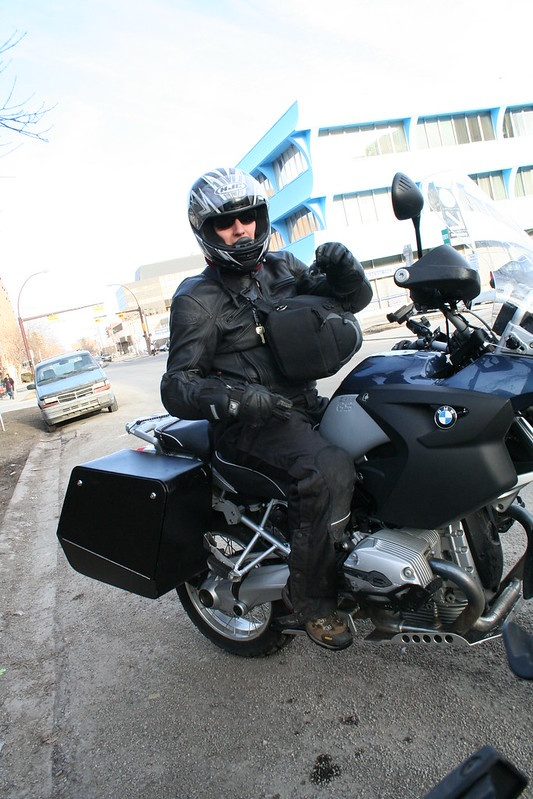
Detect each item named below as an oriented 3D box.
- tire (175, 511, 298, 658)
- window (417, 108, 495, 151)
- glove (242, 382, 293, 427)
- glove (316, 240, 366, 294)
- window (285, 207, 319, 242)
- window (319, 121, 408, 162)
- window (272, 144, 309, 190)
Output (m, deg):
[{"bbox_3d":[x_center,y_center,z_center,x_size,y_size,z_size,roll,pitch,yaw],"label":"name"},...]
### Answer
[{"bbox_3d":[-0.206,0.963,2.613,0.713,0.729,0.223,24,31,33],"label":"tire"},{"bbox_3d":[10.848,-15.796,29.771,3.074,1.721,0.307,-9,4,-11],"label":"window"},{"bbox_3d":[-0.002,0.012,1.927,0.176,0.079,0.127,2,34,-11],"label":"glove"},{"bbox_3d":[0.338,-0.578,2.267,0.176,0.333,0.141,13,69,33],"label":"glove"},{"bbox_3d":[2.170,-10.485,30.247,0.233,1.957,3.065,-26,19,-21],"label":"window"},{"bbox_3d":[5.487,-14.598,28.718,5.336,1.752,0.655,-15,24,-16],"label":"window"},{"bbox_3d":[1.490,-13.655,29.682,0.164,2.387,3.753,-18,12,-25],"label":"window"}]
